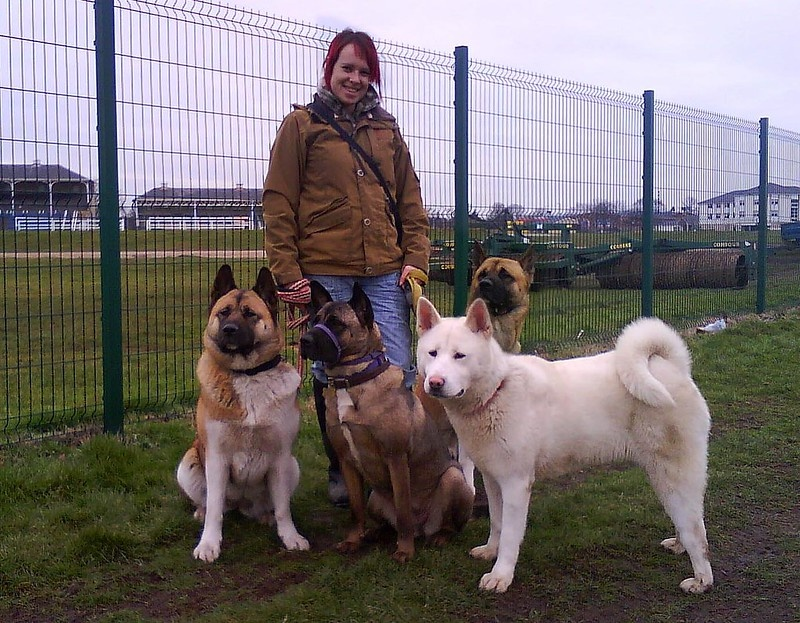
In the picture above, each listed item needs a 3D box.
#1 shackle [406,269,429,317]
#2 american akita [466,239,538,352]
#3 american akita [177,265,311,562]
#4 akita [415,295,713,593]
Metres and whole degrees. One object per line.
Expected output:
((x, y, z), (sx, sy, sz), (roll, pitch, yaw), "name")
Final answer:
((0.166, -0.151, 6.623), (0.145, 0.343, 0.204), (4, -9, -39), "shackle")
((1.109, -0.128, 7.810), (0.645, 1.540, 0.973), (0, -12, 29), "american akita")
((-1.233, 0.750, 6.043), (0.939, 2.089, 0.871), (-2, 12, -13), "american akita")
((1.205, 0.926, 5.585), (2.047, 1.970, 0.686), (1, 12, 0), "akita")
